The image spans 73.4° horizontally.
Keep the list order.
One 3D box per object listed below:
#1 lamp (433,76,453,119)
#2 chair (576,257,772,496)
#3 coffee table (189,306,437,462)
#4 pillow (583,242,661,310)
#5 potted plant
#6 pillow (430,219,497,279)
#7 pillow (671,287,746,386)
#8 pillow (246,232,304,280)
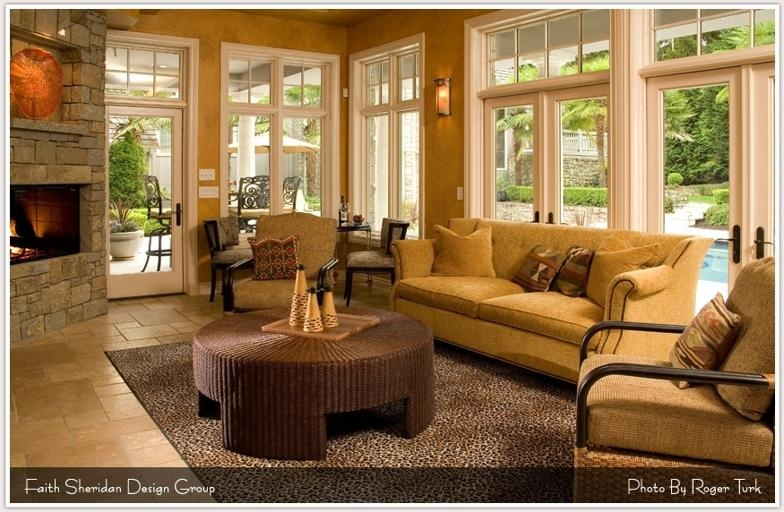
[{"bbox_3d":[0.604,-2.013,6.666,0.162,0.481,0.306,-9,16,-30],"label":"lamp"},{"bbox_3d":[1.382,0.678,3.173,1.230,1.163,1.454,1,-3,17],"label":"chair"},{"bbox_3d":[-0.496,0.838,3.546,1.593,0.637,0.929,-3,13,-14],"label":"coffee table"},{"bbox_3d":[1.758,0.160,3.991,0.493,0.507,0.255,9,-20,37],"label":"pillow"},{"bbox_3d":[-3.474,-0.768,6.920,0.582,1.636,0.271,-8,16,-29],"label":"potted plant"},{"bbox_3d":[0.731,-0.041,5.287,0.685,0.510,0.237,-1,-21,7],"label":"pillow"},{"bbox_3d":[1.720,0.450,2.877,0.239,0.350,0.398,16,43,13],"label":"pillow"},{"bbox_3d":[-1.222,0.016,5.495,0.496,0.413,0.433,-4,13,-14],"label":"pillow"}]
